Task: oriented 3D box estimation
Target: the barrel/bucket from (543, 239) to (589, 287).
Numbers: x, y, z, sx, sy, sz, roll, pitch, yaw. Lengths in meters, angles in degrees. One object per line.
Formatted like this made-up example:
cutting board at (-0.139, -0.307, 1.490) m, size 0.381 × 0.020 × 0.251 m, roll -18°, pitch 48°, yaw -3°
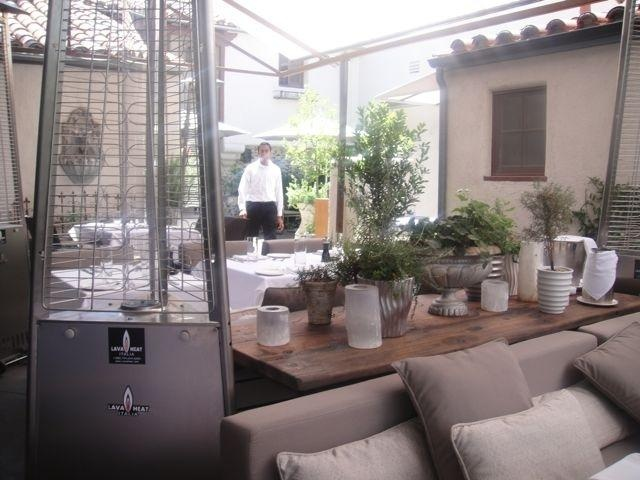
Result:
barrel/bucket at (1.545, 0.164, 2.846) m, size 0.245 × 0.273 × 0.259 m, roll 0°, pitch -8°, yaw 0°

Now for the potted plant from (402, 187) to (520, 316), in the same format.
potted plant at (0.686, 0.035, 2.203) m, size 0.593 × 0.627 × 0.627 m, roll 1°, pitch -3°, yaw 4°

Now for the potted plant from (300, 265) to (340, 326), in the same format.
potted plant at (0.001, 0.242, 2.004) m, size 0.246 × 0.266 × 0.230 m, roll 0°, pitch -3°, yaw -4°

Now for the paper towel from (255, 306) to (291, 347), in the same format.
paper towel at (-0.155, 0.337, 1.745) m, size 0.125 × 0.121 × 0.125 m, roll -7°, pitch -2°, yaw -9°

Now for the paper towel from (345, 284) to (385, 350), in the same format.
paper towel at (0.169, 0.294, 1.738) m, size 0.149 × 0.226 × 0.137 m, roll 1°, pitch 7°, yaw 42°

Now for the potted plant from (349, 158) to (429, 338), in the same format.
potted plant at (0.278, 0.151, 1.870) m, size 0.272 × 0.436 × 0.299 m, roll -1°, pitch -2°, yaw -21°

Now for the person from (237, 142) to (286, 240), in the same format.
person at (-1.023, -0.830, 7.702) m, size 0.744 × 1.625 × 0.393 m, roll -2°, pitch 4°, yaw -9°
